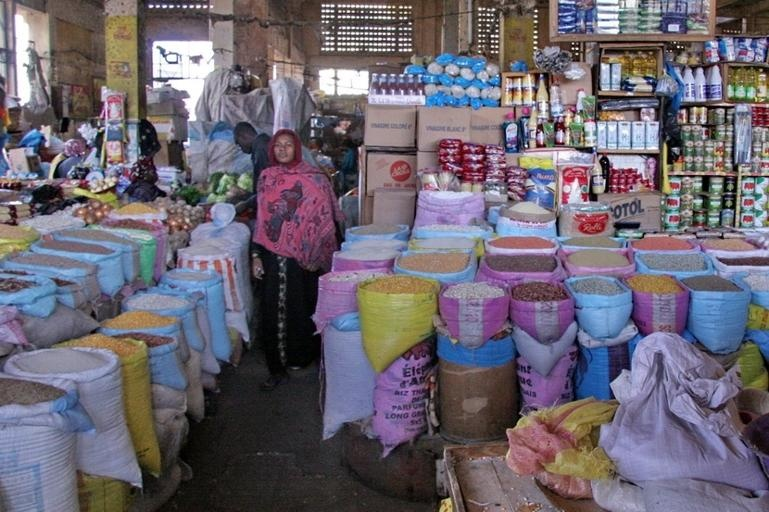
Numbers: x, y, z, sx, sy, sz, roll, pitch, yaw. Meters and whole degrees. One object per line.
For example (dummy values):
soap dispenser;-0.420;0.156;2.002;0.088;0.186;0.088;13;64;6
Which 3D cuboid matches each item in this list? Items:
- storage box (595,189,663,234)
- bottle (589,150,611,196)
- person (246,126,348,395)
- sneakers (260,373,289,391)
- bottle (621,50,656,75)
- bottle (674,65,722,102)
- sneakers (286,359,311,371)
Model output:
storage box;2.162;-0.415;5.177;0.727;0.376;0.497;-1;17;0
bottle;1.899;-0.721;5.199;0.147;0.356;0.345;4;12;22
person;-0.776;-0.032;4.464;0.502;1.806;0.804;6;13;30
sneakers;-0.799;0.909;4.287;0.170;0.054;0.216;0;11;4
bottle;2.303;-1.761;5.385;0.256;0.227;0.082;0;12;2
bottle;2.949;-1.625;5.587;0.450;0.346;0.150;-1;-3;-11
sneakers;-0.644;0.828;4.489;0.121;0.043;0.088;-1;2;44
